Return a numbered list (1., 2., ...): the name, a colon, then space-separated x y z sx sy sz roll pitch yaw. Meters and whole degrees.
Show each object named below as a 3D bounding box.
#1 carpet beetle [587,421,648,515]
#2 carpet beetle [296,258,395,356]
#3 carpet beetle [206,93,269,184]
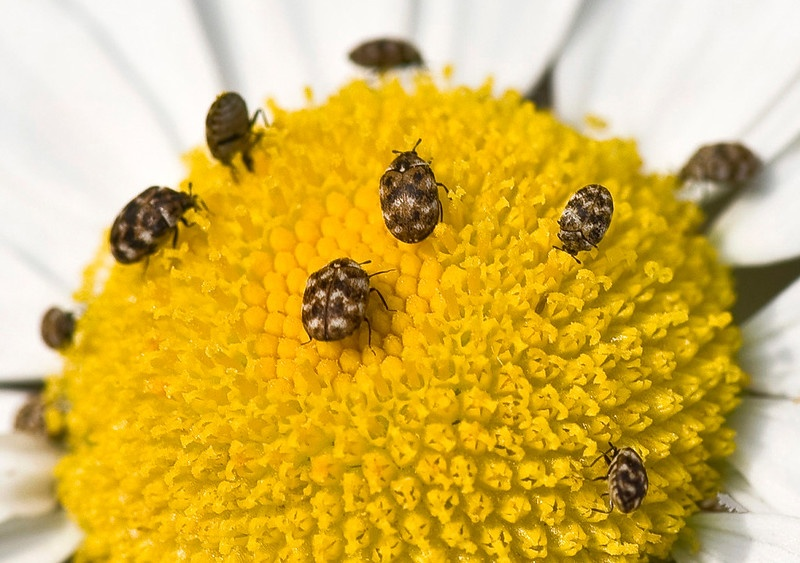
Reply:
1. carpet beetle: 0.749 0.625 2.747 0.195 0.096 0.265 1 36 12
2. carpet beetle: -0.216 0.052 2.843 0.242 0.113 0.326 -1 66 4
3. carpet beetle: -0.644 -0.580 3.281 0.250 0.091 0.346 -14 71 26
